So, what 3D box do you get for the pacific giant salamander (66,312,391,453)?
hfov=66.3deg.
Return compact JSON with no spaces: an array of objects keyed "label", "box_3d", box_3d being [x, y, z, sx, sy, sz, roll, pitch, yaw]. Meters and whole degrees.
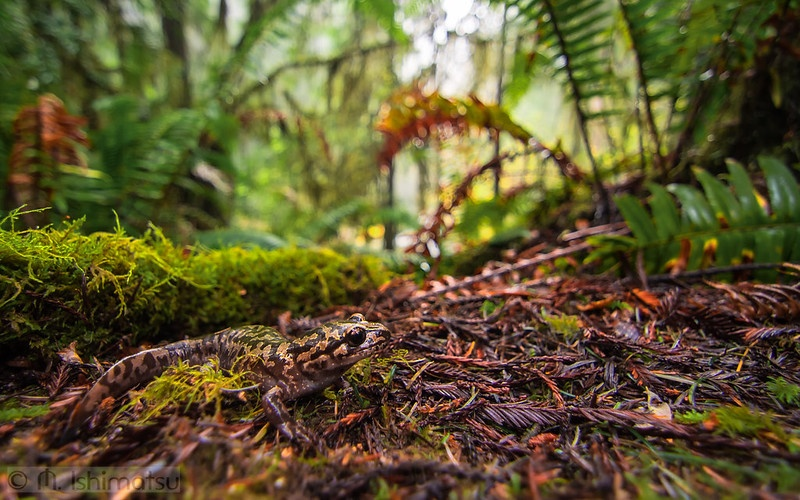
[{"label":"pacific giant salamander","box_3d":[-1.175,0.996,4.764,2.253,0.708,0.769,-10,14,2]}]
